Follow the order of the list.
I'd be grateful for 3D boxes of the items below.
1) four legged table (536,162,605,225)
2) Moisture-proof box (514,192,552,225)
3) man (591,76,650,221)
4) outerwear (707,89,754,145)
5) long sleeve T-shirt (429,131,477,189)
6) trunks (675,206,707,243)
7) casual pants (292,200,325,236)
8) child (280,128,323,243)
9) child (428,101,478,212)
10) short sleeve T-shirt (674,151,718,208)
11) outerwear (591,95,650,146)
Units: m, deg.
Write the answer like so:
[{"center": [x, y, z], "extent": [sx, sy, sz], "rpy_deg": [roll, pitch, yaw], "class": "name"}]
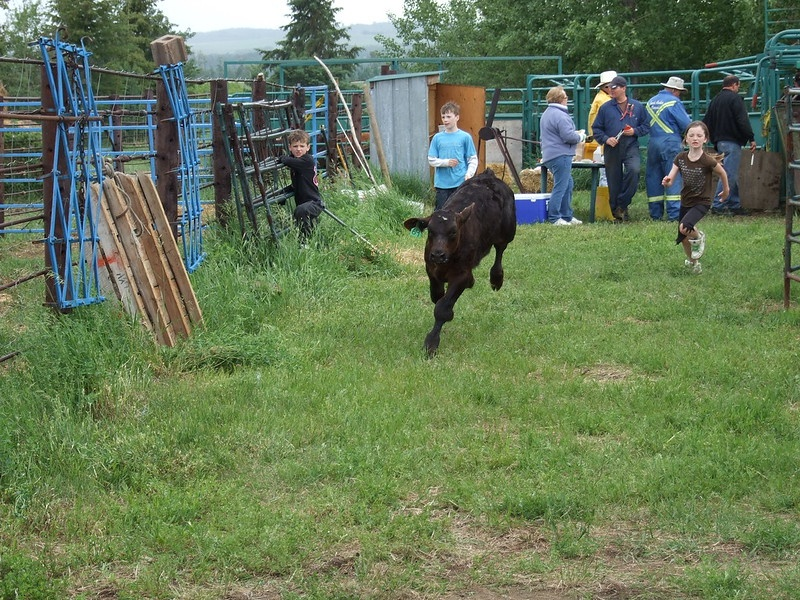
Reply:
[{"center": [2.711, -1.747, 15.993], "extent": [1.027, 1.001, 1.058], "rpy_deg": [1, 2, 8], "class": "four legged table"}, {"center": [2.084, -1.421, 15.721], "extent": [0.548, 0.356, 0.574], "rpy_deg": [1, 6, 17], "class": "Moisture-proof box"}, {"center": [3.349, -2.295, 15.267], "extent": [0.862, 2.168, 0.684], "rpy_deg": [-1, 7, 5], "class": "man"}, {"center": [5.066, -2.828, 15.575], "extent": [0.445, 0.892, 0.970], "rpy_deg": [-11, 13, -26], "class": "outerwear"}, {"center": [0.655, -1.770, 12.647], "extent": [0.617, 0.744, 0.419], "rpy_deg": [-1, 27, -3], "class": "long sleeve T-shirt"}, {"center": [3.367, -0.855, 11.562], "extent": [0.323, 0.483, 0.504], "rpy_deg": [4, 16, 16], "class": "trunks"}, {"center": [-1.113, -1.015, 12.219], "extent": [0.152, 0.459, 0.286], "rpy_deg": [-1, -27, 22], "class": "casual pants"}, {"center": [-1.188, -1.415, 12.173], "extent": [0.485, 1.282, 0.658], "rpy_deg": [-1, 15, -1], "class": "child"}, {"center": [0.661, -1.559, 12.717], "extent": [0.573, 1.864, 0.564], "rpy_deg": [-1, 29, 2], "class": "child"}, {"center": [3.380, -1.403, 11.587], "extent": [0.362, 0.620, 0.574], "rpy_deg": [-16, 20, -37], "class": "short sleeve T-shirt"}, {"center": [3.328, -2.716, 15.323], "extent": [1.097, 0.949, 0.631], "rpy_deg": [1, 5, 10], "class": "outerwear"}]
